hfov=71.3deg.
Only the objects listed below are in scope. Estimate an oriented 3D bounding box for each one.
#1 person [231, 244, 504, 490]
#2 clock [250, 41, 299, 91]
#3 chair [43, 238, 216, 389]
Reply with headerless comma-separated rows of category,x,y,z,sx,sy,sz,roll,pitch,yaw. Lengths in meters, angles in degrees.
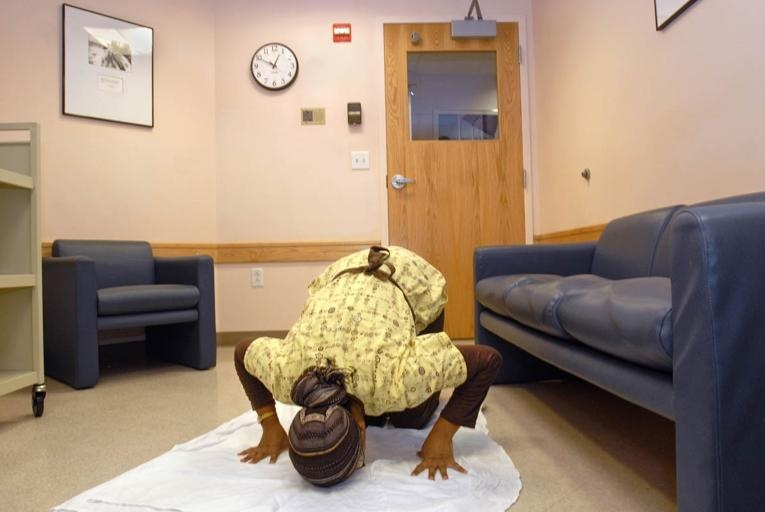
person,-0.093,0.409,2.212,1.011,0.849,0.703,-5,11,-18
clock,-0.824,-1.417,4.025,0.342,0.367,0.064,-2,-7,1
chair,-1.660,0.281,3.449,0.916,0.918,0.869,2,-4,-42
